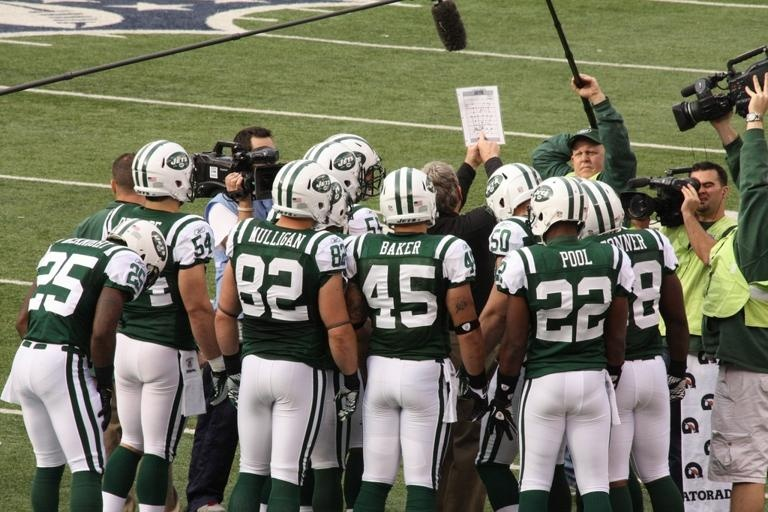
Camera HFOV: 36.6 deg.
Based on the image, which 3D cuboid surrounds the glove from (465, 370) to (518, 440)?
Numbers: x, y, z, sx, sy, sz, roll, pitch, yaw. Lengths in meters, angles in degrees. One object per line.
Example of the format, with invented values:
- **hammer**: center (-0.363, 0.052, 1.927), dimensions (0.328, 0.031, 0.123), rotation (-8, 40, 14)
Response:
- **glove**: center (0.915, 1.238, 9.543), dimensions (0.200, 0.500, 0.494), rotation (-16, 46, -3)

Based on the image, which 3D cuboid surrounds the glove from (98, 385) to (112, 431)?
- **glove**: center (-2.308, 1.236, 9.589), dimensions (0.150, 0.291, 0.234), rotation (0, -13, -3)

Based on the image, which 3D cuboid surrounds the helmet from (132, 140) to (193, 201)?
- **helmet**: center (-1.900, -0.735, 10.030), dimensions (0.420, 0.465, 0.588), rotation (11, 20, 41)

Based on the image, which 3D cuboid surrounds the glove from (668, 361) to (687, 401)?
- **glove**: center (2.471, 1.049, 9.903), dimensions (0.166, 0.368, 0.134), rotation (-1, 14, -28)
